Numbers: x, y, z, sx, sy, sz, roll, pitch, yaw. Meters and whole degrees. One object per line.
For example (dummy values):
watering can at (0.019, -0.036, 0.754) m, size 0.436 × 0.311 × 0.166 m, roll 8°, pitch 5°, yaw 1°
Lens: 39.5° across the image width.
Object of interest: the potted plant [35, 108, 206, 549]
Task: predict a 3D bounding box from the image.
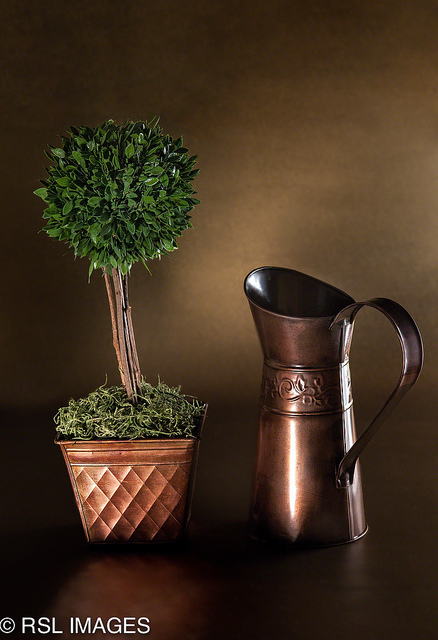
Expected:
potted plant at (-0.173, 0.041, 1.143) m, size 0.281 × 0.783 × 0.287 m, roll -3°, pitch 8°, yaw -3°

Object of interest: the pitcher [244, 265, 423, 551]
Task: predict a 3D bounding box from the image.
pitcher at (0.203, 0.165, 1.075) m, size 0.211 × 0.452 × 0.368 m, roll -10°, pitch 12°, yaw -32°
